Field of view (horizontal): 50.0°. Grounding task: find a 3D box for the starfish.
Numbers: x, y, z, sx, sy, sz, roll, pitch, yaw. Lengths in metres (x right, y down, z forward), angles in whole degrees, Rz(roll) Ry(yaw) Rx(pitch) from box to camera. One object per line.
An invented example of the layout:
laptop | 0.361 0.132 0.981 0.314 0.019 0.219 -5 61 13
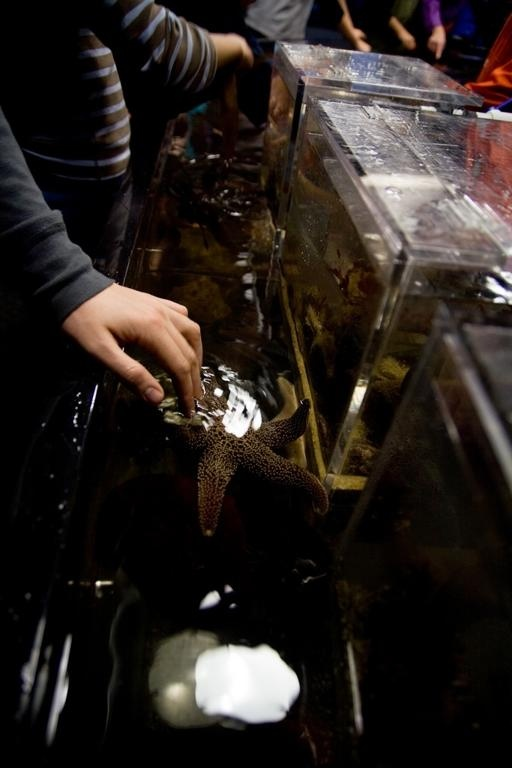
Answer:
starfish | -0.049 0.093 1.219 0.310 0.169 0.495 -6 45 -19
